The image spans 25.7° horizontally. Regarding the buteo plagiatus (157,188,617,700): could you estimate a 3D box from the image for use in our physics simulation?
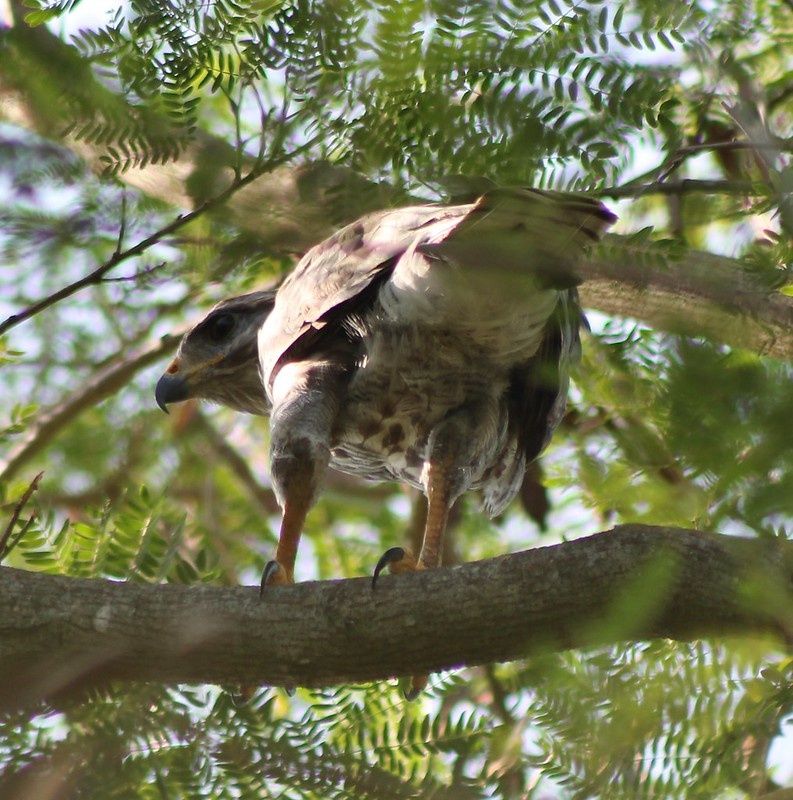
[{"bbox_3d":[0.055,-0.102,5.155,0.654,0.998,1.954,19,-46,-9],"label":"buteo plagiatus"}]
